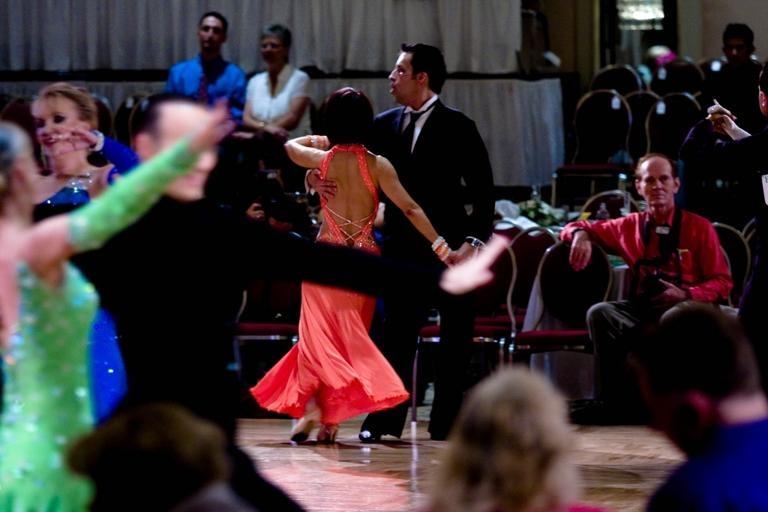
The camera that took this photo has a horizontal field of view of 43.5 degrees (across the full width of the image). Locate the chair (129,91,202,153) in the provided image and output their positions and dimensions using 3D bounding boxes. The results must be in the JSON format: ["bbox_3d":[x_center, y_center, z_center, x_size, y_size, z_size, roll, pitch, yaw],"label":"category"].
[{"bbox_3d":[-0.610,-0.374,2.719,0.174,0.150,0.445,-1,-1,-13],"label":"chair"}]

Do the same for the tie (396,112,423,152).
[{"bbox_3d":[0.098,-0.711,5.678,0.132,0.226,0.220,10,3,-2],"label":"tie"}]

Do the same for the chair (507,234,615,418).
[{"bbox_3d":[1.067,0.257,6.226,0.646,1.250,0.730,1,-5,0],"label":"chair"}]

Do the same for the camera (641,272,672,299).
[{"bbox_3d":[1.519,0.165,5.639,0.140,0.142,0.121,-1,-3,29],"label":"camera"}]

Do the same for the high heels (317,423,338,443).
[{"bbox_3d":[-0.347,1.023,5.545,0.072,0.073,0.136,4,-21,-2],"label":"high heels"}]

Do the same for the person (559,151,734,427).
[{"bbox_3d":[1.438,0.187,5.711,0.935,1.600,0.886,3,-5,17],"label":"person"}]
